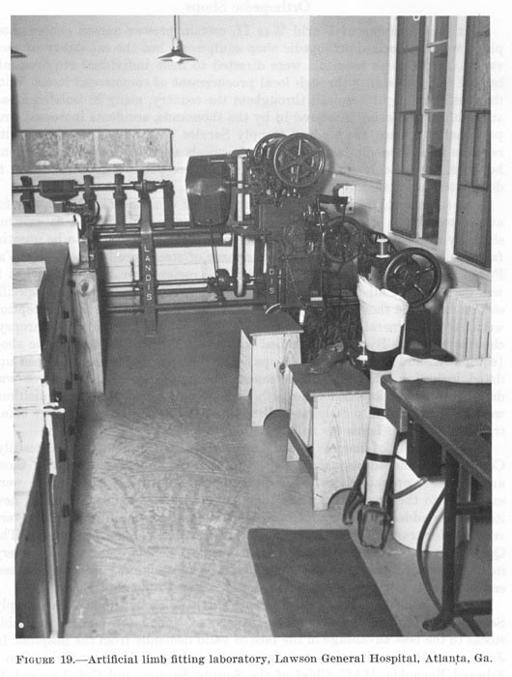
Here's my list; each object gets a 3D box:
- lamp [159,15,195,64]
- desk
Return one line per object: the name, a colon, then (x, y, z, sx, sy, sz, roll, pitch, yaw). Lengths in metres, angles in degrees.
lamp: (-0.229, -0.855, 1.804, 0.070, 0.119, 0.082, 6, 16, 17)
desk: (0.431, 0.399, 1.488, 0.183, 0.380, 0.436, 0, 14, -2)
